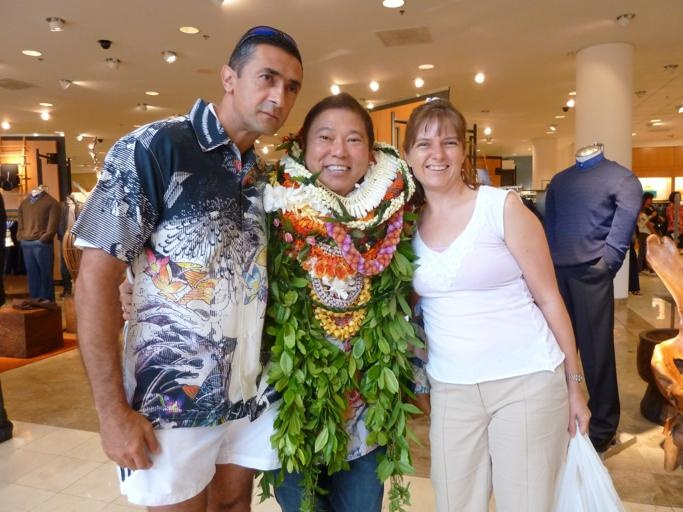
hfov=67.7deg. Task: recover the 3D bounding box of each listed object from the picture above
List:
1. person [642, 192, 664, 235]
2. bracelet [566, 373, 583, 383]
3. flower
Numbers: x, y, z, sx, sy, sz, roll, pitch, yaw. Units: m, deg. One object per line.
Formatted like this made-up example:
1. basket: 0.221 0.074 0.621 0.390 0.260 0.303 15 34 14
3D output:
1. person: 6.805 -0.892 11.138 0.522 0.525 1.610 -6 -13 36
2. bracelet: 0.971 0.510 2.133 0.060 0.036 0.055 11 -17 -36
3. flower: -0.023 0.230 2.418 0.811 1.483 0.677 -1 7 -6
